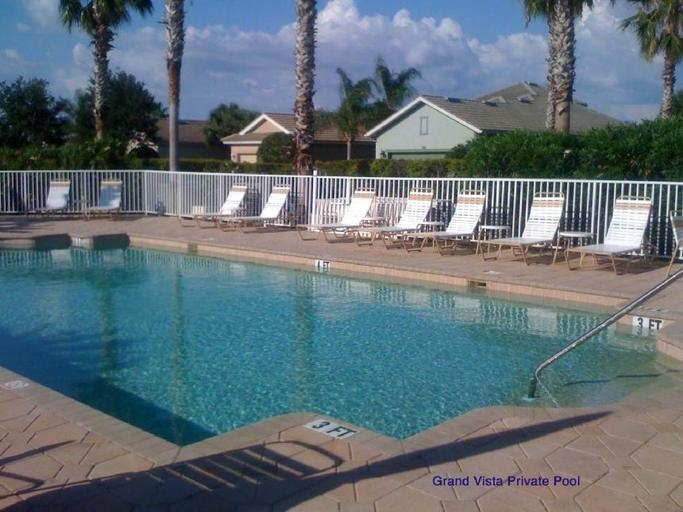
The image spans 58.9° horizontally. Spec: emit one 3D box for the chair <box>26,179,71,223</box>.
[{"bbox_3d":[-8.872,-1.759,18.816,0.608,0.916,1.764,-1,18,-17],"label":"chair"}]
